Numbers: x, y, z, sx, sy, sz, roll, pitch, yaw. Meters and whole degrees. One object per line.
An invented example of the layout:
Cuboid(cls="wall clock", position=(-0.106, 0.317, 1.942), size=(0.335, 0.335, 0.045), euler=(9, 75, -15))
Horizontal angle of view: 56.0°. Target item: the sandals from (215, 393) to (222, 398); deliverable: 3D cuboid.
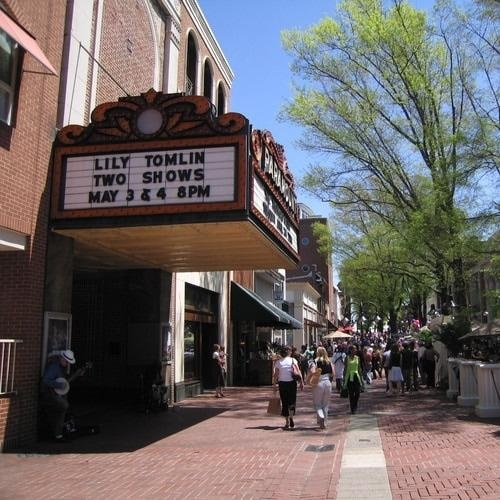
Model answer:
Cuboid(cls="sandals", position=(-1.139, 5.255, 17.050), size=(0.263, 0.252, 0.101), euler=(1, 2, -6))

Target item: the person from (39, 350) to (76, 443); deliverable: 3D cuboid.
Cuboid(cls="person", position=(-3.471, 2.645, 8.645), size=(0.505, 1.602, 1.037), euler=(-4, -8, 4))

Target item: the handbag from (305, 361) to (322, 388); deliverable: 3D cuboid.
Cuboid(cls="handbag", position=(1.421, 2.798, 10.436), size=(0.314, 0.427, 0.548), euler=(-7, -10, 18))
